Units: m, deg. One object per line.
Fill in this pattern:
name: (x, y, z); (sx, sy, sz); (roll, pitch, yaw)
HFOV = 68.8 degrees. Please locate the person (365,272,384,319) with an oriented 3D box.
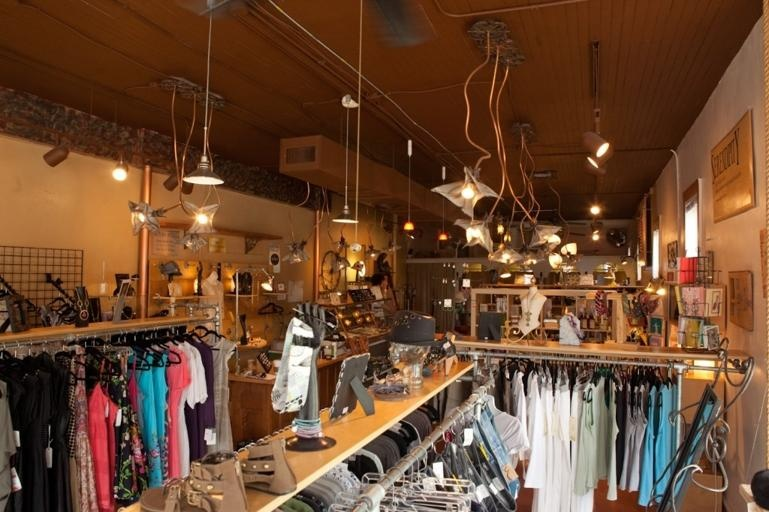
person: (-0.203, 0.882, 11.654); (0.415, 1.133, 0.434); (-3, -22, 18)

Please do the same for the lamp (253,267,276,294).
lamp: (-1.821, 0.403, 9.030); (0.425, 0.463, 0.247); (-3, -5, 15)

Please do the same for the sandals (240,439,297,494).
sandals: (-0.729, 1.232, 3.337); (0.371, 0.288, 0.226); (-1, -4, 12)

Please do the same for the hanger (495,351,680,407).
hanger: (1.910, 1.206, 5.364); (1.649, 0.495, 1.017); (-3, -7, 16)

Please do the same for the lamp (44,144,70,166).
lamp: (-3.678, -1.148, 6.261); (0.216, 0.257, 0.193); (3, -7, -35)
